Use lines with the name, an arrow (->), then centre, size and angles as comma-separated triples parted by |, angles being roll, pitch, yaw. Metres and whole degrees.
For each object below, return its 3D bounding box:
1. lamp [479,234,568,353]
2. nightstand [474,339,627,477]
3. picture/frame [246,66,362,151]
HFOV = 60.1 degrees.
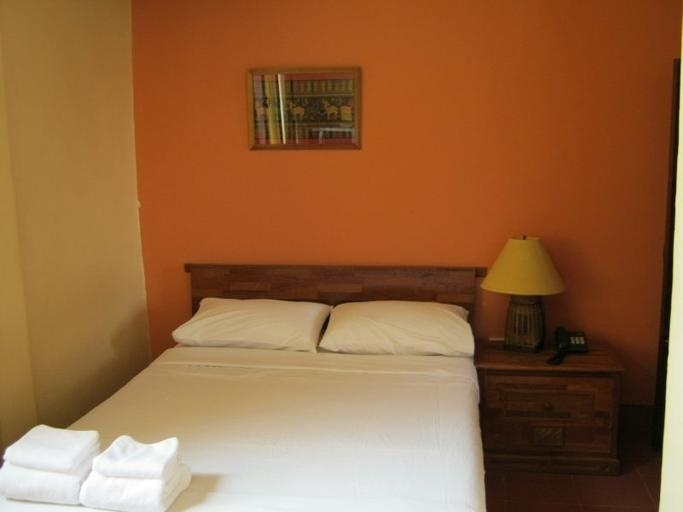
lamp -> 1.142, 0.231, 3.714 | 0.499, 0.716, 0.503 | -9, 11, -43
nightstand -> 1.267, 0.895, 3.775 | 0.907, 0.722, 0.560 | 0, 21, 9
picture/frame -> -0.249, -0.962, 3.910 | 0.759, 0.566, 0.025 | -1, -5, -2
